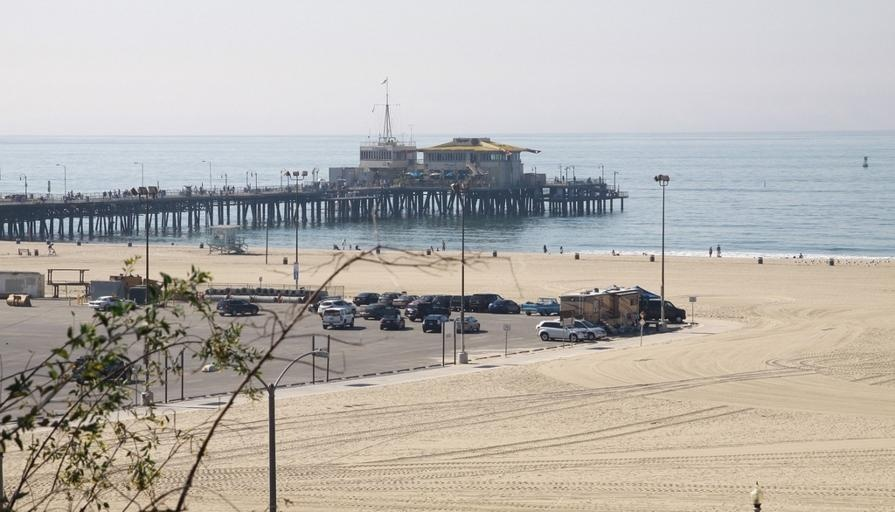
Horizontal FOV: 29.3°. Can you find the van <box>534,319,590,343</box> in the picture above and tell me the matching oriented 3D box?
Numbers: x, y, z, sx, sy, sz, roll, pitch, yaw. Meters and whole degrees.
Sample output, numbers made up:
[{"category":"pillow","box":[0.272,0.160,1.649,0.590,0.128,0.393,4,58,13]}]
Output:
[{"category":"van","box":[9.028,6.287,139.484,3.810,1.213,1.673,-1,3,8]}]

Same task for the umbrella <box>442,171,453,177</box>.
[{"category":"umbrella","box":[-0.285,-11.125,238.587,0.374,0.849,1.522,-5,5,-43]}]

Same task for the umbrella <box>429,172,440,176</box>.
[{"category":"umbrella","box":[-2.114,-11.160,239.382,0.422,0.610,1.793,-4,5,-40]}]

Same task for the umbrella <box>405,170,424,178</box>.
[{"category":"umbrella","box":[-5.019,-11.314,242.610,2.323,1.105,1.112,0,4,17]}]

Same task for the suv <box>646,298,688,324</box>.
[{"category":"suv","box":[17.952,4.837,144.573,3.487,1.349,1.712,-1,5,2]}]
